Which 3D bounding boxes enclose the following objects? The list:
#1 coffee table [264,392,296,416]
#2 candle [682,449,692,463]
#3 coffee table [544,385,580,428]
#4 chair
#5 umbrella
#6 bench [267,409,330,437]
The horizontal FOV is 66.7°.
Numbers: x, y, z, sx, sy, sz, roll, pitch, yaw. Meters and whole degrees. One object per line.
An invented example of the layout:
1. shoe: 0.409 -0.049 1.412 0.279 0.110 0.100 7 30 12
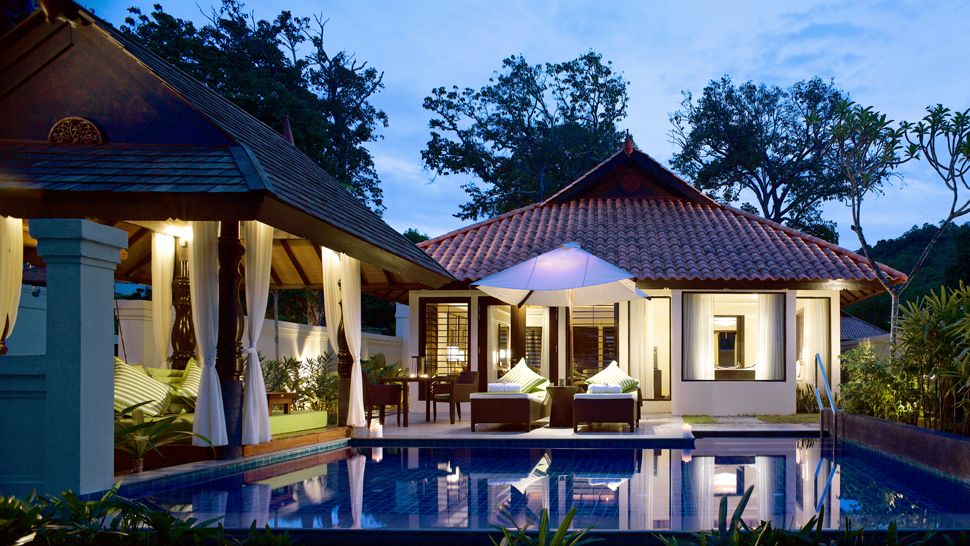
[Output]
1. coffee table: -4.380 2.777 15.862 0.738 0.438 0.717 1 -10 -10
2. candle: 4.034 3.682 14.734 0.191 0.342 0.192 -2 -1 8
3. coffee table: 1.838 3.233 17.692 0.919 0.971 0.866 1 -9 -1
4. chair: -1.526 3.277 19.135 2.592 1.428 4.089 0 -3 5
5. umbrella: 2.080 0.742 19.192 5.225 3.936 2.523 -1 -3 6
6. bench: -4.042 3.259 15.988 0.519 0.461 2.117 0 -3 22
